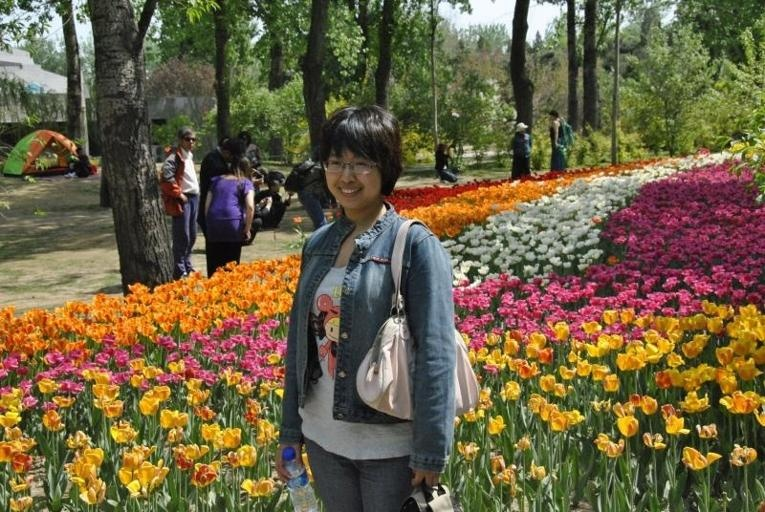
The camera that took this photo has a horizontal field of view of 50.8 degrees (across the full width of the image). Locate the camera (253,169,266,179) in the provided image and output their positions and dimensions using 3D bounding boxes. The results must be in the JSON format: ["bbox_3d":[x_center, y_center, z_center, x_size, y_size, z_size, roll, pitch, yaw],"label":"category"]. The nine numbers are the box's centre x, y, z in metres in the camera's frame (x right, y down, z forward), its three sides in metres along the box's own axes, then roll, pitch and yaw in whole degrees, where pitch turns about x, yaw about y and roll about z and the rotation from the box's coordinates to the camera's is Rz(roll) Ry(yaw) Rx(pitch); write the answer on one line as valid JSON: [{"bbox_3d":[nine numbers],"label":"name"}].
[{"bbox_3d":[-2.264,-1.487,14.747,0.149,0.200,0.176,-20,37,-6],"label":"camera"}]

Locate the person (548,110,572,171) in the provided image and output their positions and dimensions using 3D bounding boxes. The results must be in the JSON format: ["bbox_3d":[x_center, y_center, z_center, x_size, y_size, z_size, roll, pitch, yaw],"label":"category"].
[{"bbox_3d":[4.414,-2.865,19.986,0.518,1.489,1.496,-1,7,11],"label":"person"}]

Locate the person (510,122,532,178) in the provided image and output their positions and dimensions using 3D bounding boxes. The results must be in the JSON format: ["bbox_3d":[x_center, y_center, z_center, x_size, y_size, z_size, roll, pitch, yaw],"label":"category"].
[{"bbox_3d":[3.334,-2.539,19.471,0.400,1.274,0.837,-1,7,7],"label":"person"}]

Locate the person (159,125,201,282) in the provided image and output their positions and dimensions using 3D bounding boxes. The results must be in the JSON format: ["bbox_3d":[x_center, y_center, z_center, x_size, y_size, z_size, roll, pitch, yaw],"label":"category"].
[{"bbox_3d":[-2.815,-0.725,11.272,0.528,2.102,1.027,-4,7,-13],"label":"person"}]
